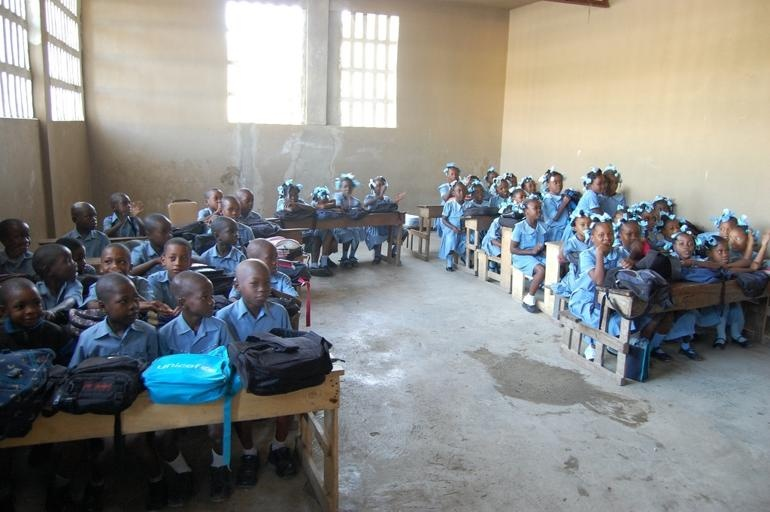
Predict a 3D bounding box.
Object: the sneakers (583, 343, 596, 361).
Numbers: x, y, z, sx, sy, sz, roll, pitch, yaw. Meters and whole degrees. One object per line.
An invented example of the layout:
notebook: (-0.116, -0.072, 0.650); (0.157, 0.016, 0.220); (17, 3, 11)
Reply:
sneakers: (2.028, 0.968, 5.204); (0.123, 0.216, 0.179); (-4, -14, 23)

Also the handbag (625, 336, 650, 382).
handbag: (2.323, 0.979, 4.843); (0.137, 0.353, 0.360); (-5, 13, -14)

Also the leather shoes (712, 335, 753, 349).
leather shoes: (3.706, 0.943, 5.622); (0.436, 0.123, 0.153); (-5, 14, 6)

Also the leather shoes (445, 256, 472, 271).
leather shoes: (1.179, 0.128, 8.268); (0.165, 0.209, 0.547); (2, 3, 27)

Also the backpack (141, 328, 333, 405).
backpack: (-0.863, 0.685, 3.185); (0.778, 0.231, 0.491); (-5, 3, -12)

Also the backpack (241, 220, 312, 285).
backpack: (-0.956, 0.021, 4.949); (0.473, 0.239, 0.579); (6, 10, -34)
